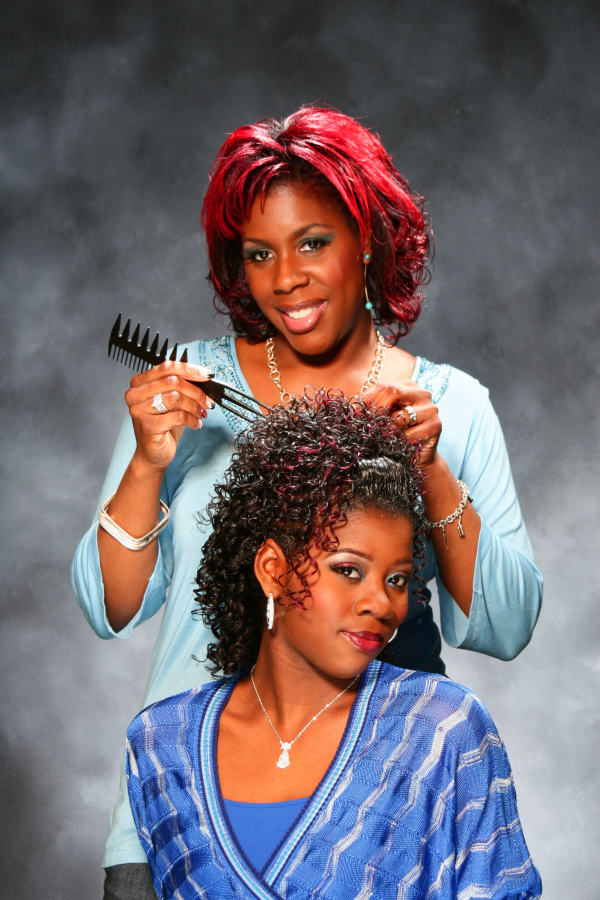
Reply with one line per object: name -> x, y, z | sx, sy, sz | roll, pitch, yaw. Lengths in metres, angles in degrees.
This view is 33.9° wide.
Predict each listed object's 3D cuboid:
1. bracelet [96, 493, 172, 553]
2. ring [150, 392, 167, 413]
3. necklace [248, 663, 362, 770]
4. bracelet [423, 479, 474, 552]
bracelet -> -0.264, 0.117, 1.573 | 0.102, 0.073, 0.042 | 38, -15, 3
ring -> -0.204, -0.068, 1.430 | 0.028, 0.024, 0.022 | -5, 13, 1
necklace -> 0.011, 0.357, 1.308 | 0.183, 0.130, 0.010 | 7, -21, 13
bracelet -> 0.240, 0.103, 1.546 | 0.027, 0.087, 0.072 | 44, 18, 33
